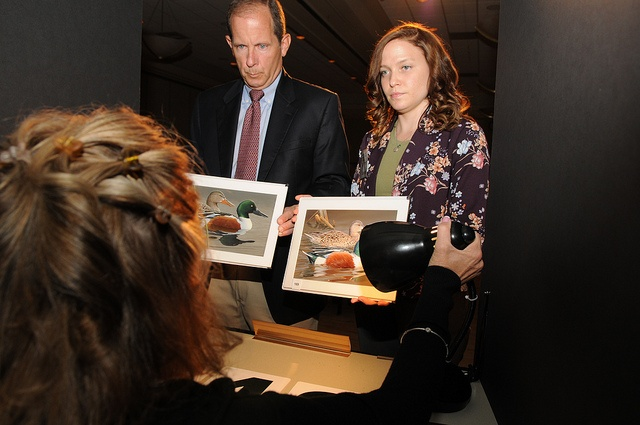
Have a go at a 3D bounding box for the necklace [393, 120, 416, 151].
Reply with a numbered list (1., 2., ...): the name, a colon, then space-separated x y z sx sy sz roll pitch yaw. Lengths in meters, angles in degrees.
1. necklace: 0.336 -0.323 1.776 0.089 0.129 0.036 14 -5 26

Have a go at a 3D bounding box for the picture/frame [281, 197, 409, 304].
1. picture/frame: 0.076 0.102 1.343 0.366 0.326 0.037 7 -15 15

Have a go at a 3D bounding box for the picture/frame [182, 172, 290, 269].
1. picture/frame: -0.314 0.017 1.560 0.397 0.274 0.019 10 0 22
